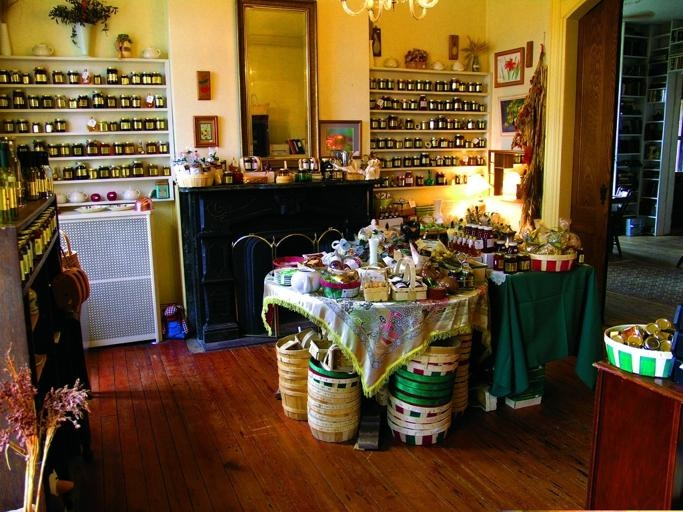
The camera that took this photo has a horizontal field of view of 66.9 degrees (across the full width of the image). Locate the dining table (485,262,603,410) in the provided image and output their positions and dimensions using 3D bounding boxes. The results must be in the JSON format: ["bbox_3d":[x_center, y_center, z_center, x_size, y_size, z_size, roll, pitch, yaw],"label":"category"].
[{"bbox_3d":[1.395,0.427,4.001,1.031,0.993,0.839,-4,5,-23],"label":"dining table"}]

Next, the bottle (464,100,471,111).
[{"bbox_3d":[1.667,-1.981,6.802,0.103,0.122,0.106,-2,4,-20],"label":"bottle"}]

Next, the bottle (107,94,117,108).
[{"bbox_3d":[-2.332,-1.577,5.253,0.106,0.121,0.104,-6,14,-22],"label":"bottle"}]

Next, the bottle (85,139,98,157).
[{"bbox_3d":[-2.523,-1.101,5.247,0.127,0.220,0.145,-1,7,-16],"label":"bottle"}]

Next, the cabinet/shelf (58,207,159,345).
[{"bbox_3d":[-2.150,0.215,5.079,0.674,1.200,0.404,-5,3,-13],"label":"cabinet/shelf"}]

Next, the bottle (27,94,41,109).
[{"bbox_3d":[-2.980,-1.513,5.060,0.112,0.129,0.116,1,2,-5],"label":"bottle"}]

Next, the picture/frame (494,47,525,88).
[{"bbox_3d":[2.117,-2.354,6.482,0.023,0.422,0.461,-13,17,-27],"label":"picture/frame"}]

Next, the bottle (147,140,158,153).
[{"bbox_3d":[-1.985,-1.157,5.432,0.107,0.172,0.109,2,5,0],"label":"bottle"}]

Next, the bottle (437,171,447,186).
[{"bbox_3d":[1.324,-1.022,6.811,0.148,0.225,0.151,0,2,0],"label":"bottle"}]

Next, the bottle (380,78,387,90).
[{"bbox_3d":[0.516,-2.102,6.308,0.098,0.123,0.103,0,2,0],"label":"bottle"}]

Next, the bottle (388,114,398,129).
[{"bbox_3d":[0.661,-1.675,6.439,0.165,0.163,0.098,-3,13,-9],"label":"bottle"}]

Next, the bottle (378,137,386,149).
[{"bbox_3d":[0.518,-1.395,6.396,0.098,0.119,0.103,1,4,8],"label":"bottle"}]

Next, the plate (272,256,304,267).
[{"bbox_3d":[-0.378,0.048,3.769,0.217,0.056,0.265,-1,14,-1],"label":"plate"}]

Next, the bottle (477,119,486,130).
[{"bbox_3d":[1.875,-1.771,6.933,0.124,0.133,0.127,1,20,0],"label":"bottle"}]

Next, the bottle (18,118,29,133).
[{"bbox_3d":[-3.107,-1.284,5.059,0.101,0.104,0.104,-1,3,-14],"label":"bottle"}]

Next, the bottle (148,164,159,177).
[{"bbox_3d":[-1.979,-0.920,5.494,0.117,0.159,0.123,2,15,-1],"label":"bottle"}]

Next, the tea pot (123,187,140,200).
[{"bbox_3d":[-2.188,-0.655,5.404,0.143,0.122,0.112,-1,3,-30],"label":"tea pot"}]

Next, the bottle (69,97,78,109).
[{"bbox_3d":[-2.676,-1.529,5.163,0.076,0.104,0.044,-6,14,-20],"label":"bottle"}]

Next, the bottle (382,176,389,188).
[{"bbox_3d":[0.556,-0.925,6.400,0.077,0.146,0.139,0,-3,8],"label":"bottle"}]

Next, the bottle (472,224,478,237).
[{"bbox_3d":[1.048,-0.197,4.006,0.065,0.108,0.068,0,6,0],"label":"bottle"}]

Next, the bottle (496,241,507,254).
[{"bbox_3d":[1.151,-0.065,3.688,0.074,0.075,0.075,-7,14,-28],"label":"bottle"}]

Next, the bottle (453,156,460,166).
[{"bbox_3d":[1.544,-1.265,6.856,0.118,0.145,0.121,8,15,30],"label":"bottle"}]

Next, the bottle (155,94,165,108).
[{"bbox_3d":[-1.879,-1.609,5.386,0.116,0.153,0.119,-1,0,0],"label":"bottle"}]

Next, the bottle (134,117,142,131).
[{"bbox_3d":[-2.094,-1.371,5.342,0.100,0.151,0.102,0,6,0],"label":"bottle"}]

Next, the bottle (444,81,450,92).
[{"bbox_3d":[1.372,-2.192,6.673,0.095,0.117,0.039,-8,14,-26],"label":"bottle"}]

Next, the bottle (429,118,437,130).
[{"bbox_3d":[1.191,-1.693,6.614,0.121,0.134,0.081,-1,4,5],"label":"bottle"}]

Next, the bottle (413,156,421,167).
[{"bbox_3d":[0.984,-1.224,6.648,0.098,0.177,0.107,0,2,0],"label":"bottle"}]

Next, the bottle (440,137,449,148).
[{"bbox_3d":[1.345,-1.485,6.754,0.112,0.154,0.117,1,14,0],"label":"bottle"}]

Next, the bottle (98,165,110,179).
[{"bbox_3d":[-2.416,-0.866,5.308,0.112,0.158,0.115,4,19,-1],"label":"bottle"}]

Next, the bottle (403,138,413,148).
[{"bbox_3d":[0.862,-1.436,6.565,0.117,0.138,0.123,0,5,11],"label":"bottle"}]

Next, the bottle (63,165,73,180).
[{"bbox_3d":[-2.758,-0.851,5.223,0.111,0.123,0.110,1,1,-44],"label":"bottle"}]

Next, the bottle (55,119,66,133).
[{"bbox_3d":[-2.806,-1.308,5.175,0.114,0.127,0.117,2,1,36],"label":"bottle"}]

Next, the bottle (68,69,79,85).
[{"bbox_3d":[-2.646,-1.770,5.128,0.120,0.136,0.135,-7,15,-25],"label":"bottle"}]

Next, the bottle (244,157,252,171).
[{"bbox_3d":[-0.924,-0.919,5.159,0.092,0.123,0.046,-2,13,-5],"label":"bottle"}]

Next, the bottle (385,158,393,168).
[{"bbox_3d":[0.606,-1.171,6.507,0.131,0.099,0.044,-10,16,-33],"label":"bottle"}]

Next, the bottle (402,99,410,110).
[{"bbox_3d":[0.827,-1.907,6.496,0.108,0.128,0.114,1,6,8],"label":"bottle"}]

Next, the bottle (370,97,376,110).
[{"bbox_3d":[0.404,-1.870,6.326,0.076,0.137,0.083,-1,13,0],"label":"bottle"}]

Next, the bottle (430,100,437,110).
[{"bbox_3d":[1.190,-1.932,6.623,0.096,0.126,0.051,-2,13,-4],"label":"bottle"}]

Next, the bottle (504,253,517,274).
[{"bbox_3d":[1.188,0.046,3.618,0.106,0.161,0.115,0,8,0],"label":"bottle"}]

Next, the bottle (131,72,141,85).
[{"bbox_3d":[-2.079,-1.807,5.243,0.106,0.113,0.103,-5,13,-28],"label":"bottle"}]

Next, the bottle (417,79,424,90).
[{"bbox_3d":[1.007,-2.155,6.523,0.107,0.124,0.030,-8,15,-28],"label":"bottle"}]
